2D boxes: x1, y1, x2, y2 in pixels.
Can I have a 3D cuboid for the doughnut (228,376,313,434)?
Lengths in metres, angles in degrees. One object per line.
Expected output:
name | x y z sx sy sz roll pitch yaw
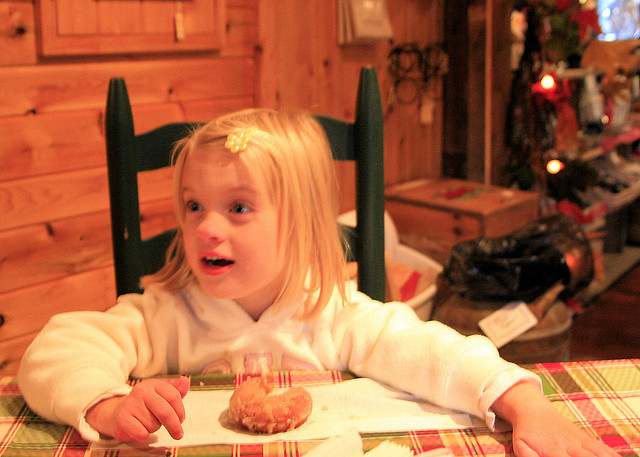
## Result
doughnut | -0.081 0.277 0.880 0.132 0.047 0.122 11 14 28

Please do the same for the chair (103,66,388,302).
chair | -0.185 -0.107 1.468 0.554 0.934 0.557 -1 -2 0

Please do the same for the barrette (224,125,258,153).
barrette | -0.147 -0.162 1.004 0.036 0.010 0.056 33 53 25
